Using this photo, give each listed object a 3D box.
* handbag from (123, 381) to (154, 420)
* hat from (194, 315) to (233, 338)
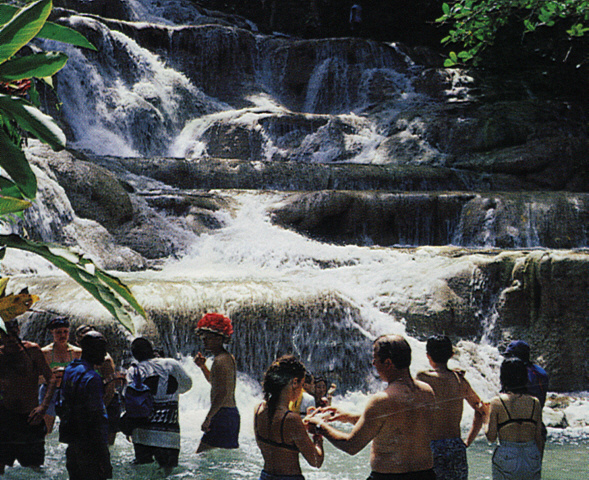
[{"bbox_3d":[-2.701,2.795,22.312,0.492,0.646,0.536,0,6,0],"label":"handbag"},{"bbox_3d":[-1.348,1.478,22.608,0.423,0.288,0.468,7,-6,14],"label":"hat"}]
